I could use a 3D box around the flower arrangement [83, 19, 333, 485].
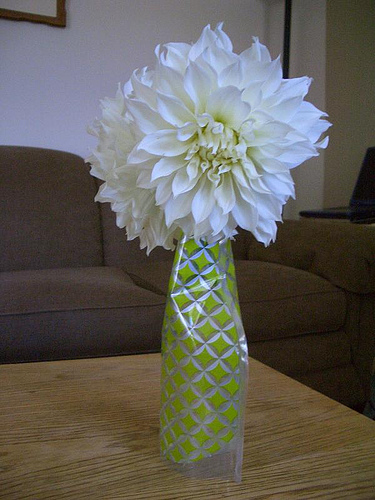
[{"bbox_3d":[0.010,0.010,0.477,0.206,0.445,0.259,-6,10,-32],"label":"flower arrangement"}]

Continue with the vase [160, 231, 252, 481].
[{"bbox_3d":[0.013,0.110,0.434,0.084,0.243,0.060,-1,9,-4],"label":"vase"}]
